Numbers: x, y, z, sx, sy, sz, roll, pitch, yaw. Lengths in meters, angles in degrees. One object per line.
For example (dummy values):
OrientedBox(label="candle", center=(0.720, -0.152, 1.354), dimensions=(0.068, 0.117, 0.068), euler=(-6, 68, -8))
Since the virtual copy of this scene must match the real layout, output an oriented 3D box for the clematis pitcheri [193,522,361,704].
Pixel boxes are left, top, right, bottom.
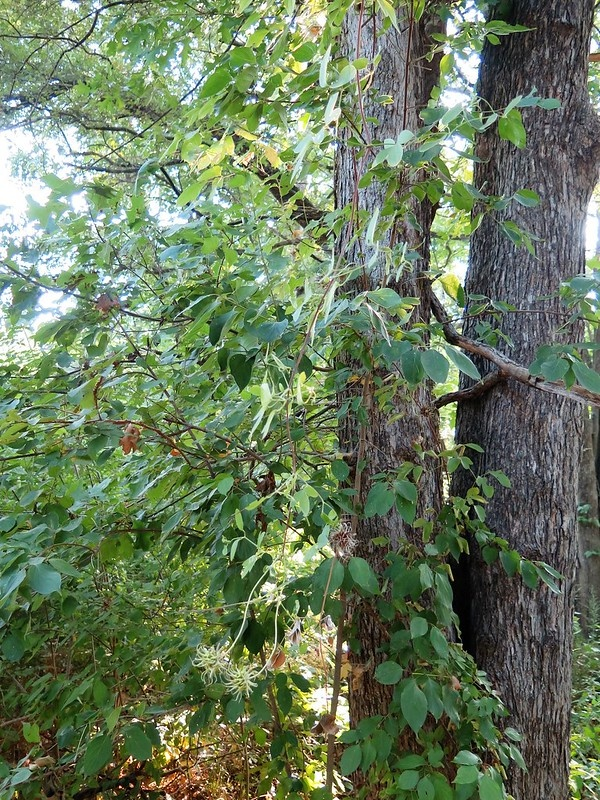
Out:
OrientedBox(label="clematis pitcheri", center=(-0.006, 0.498, 1.708), dimensions=(0.454, 0.455, 0.134), euler=(10, -10, 15))
